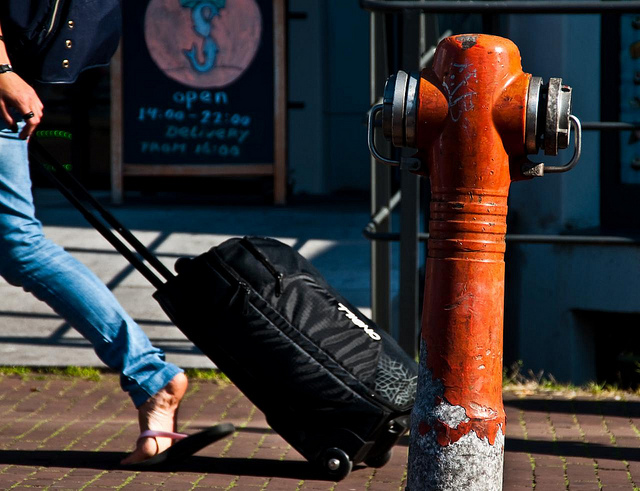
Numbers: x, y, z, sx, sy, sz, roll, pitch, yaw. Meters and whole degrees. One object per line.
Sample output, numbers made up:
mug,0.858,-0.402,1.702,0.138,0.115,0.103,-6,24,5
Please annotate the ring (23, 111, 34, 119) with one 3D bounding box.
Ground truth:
ring,-1.223,-0.554,6.026,0.031,0.019,0.029,-24,25,12

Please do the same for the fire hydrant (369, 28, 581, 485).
fire hydrant,0.562,0.053,5.445,0.772,1.706,0.448,1,12,1

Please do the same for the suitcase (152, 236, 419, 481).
suitcase,-0.116,0.465,6.204,1.303,0.466,0.829,41,31,-2
